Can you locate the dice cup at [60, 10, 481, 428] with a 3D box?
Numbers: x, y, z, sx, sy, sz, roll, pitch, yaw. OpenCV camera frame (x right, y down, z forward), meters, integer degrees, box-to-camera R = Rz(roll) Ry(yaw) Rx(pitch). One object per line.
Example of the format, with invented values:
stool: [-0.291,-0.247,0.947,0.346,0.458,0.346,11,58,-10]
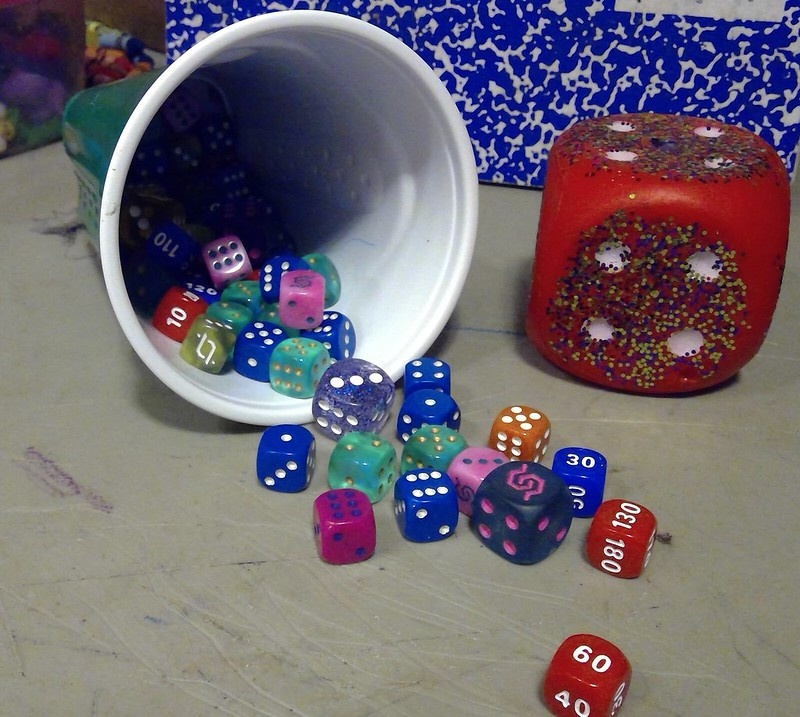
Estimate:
dice cup: [-0.275,-0.351,2.272,0.746,0.958,0.570,-12,37,-16]

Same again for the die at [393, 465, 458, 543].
die: [0.049,0.268,1.865,0.117,0.115,0.096,-11,41,-4]

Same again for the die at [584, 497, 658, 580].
die: [0.391,0.319,1.819,0.121,0.104,0.116,10,44,19]

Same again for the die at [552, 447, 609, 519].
die: [0.340,0.218,1.934,0.109,0.118,0.118,10,33,12]
